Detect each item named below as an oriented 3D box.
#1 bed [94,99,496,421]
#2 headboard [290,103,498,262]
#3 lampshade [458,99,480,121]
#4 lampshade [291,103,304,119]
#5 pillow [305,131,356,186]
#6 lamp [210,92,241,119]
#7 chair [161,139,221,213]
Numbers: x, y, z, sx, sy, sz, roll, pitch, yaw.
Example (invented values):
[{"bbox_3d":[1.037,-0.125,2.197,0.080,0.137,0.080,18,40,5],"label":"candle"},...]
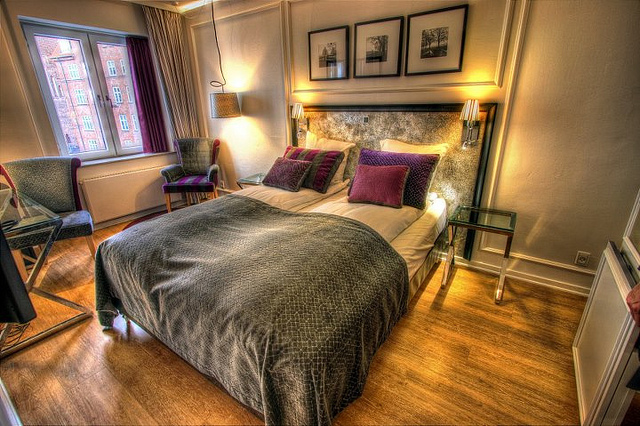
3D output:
[{"bbox_3d":[0.161,0.720,4.134,2.770,1.901,3.367,17,32,34],"label":"bed"},{"bbox_3d":[1.004,-0.371,4.218,2.507,1.557,1.003,15,20,35],"label":"headboard"},{"bbox_3d":[1.424,-0.961,3.605,0.185,0.194,0.190,12,18,36],"label":"lampshade"},{"bbox_3d":[-0.266,-1.206,4.530,0.167,0.183,0.171,11,30,16],"label":"lampshade"},{"bbox_3d":[0.102,-0.606,4.493,0.566,0.642,0.438,19,22,40],"label":"pillow"},{"bbox_3d":[-1.224,-1.375,4.952,0.327,0.331,0.331,-6,17,-15],"label":"lamp"},{"bbox_3d":[-1.743,-0.500,5.226,0.776,0.968,0.762,-9,20,-26],"label":"chair"}]
